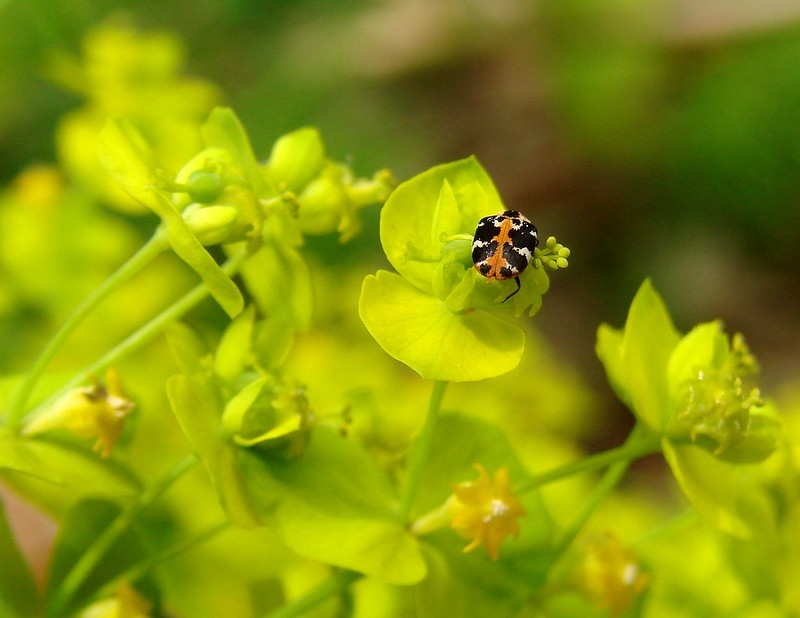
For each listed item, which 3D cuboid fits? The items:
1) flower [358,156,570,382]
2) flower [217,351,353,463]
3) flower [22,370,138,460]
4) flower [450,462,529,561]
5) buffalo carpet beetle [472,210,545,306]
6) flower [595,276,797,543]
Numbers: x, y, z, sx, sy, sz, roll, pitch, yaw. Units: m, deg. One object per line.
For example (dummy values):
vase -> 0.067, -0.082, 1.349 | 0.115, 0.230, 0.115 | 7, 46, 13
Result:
flower -> 0.049, -0.025, 0.725 | 0.169, 0.198, 0.105 | -2, 15, -4
flower -> -0.101, 0.089, 0.731 | 0.090, 0.038, 0.067 | 30, 32, -39
flower -> -0.279, 0.094, 0.762 | 0.080, 0.079, 0.040 | -11, -6, -5
flower -> 0.071, 0.170, 0.718 | 0.062, 0.073, 0.033 | 5, -10, 25
buffalo carpet beetle -> 0.080, -0.047, 0.702 | 0.059, 0.026, 0.089 | 17, 31, -4
flower -> 0.252, 0.094, 0.788 | 0.148, 0.225, 0.079 | 19, -36, -36
